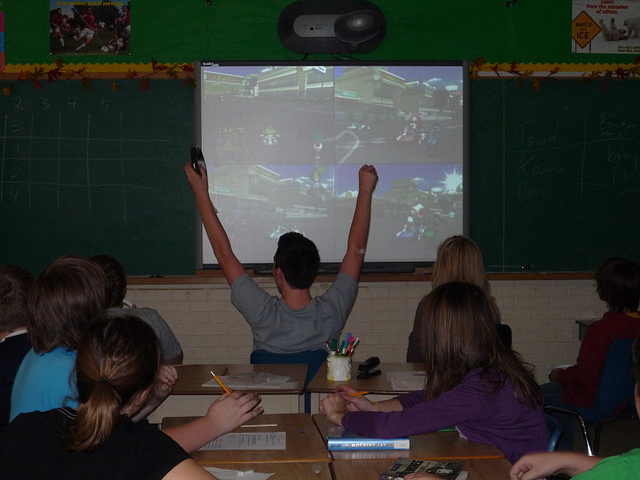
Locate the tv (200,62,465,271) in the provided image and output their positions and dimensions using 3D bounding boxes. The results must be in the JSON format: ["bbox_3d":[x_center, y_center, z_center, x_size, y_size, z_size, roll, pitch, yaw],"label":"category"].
[{"bbox_3d":[0.035,-0.578,4.206,1.769,1.160,0.060,0,5,-2],"label":"tv"}]

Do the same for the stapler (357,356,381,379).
[{"bbox_3d":[0.236,0.644,2.818,0.055,0.078,0.183,-6,-8,31],"label":"stapler"}]

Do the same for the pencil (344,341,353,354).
[{"bbox_3d":[0.148,0.533,2.798,0.016,0.018,0.079,29,50,14],"label":"pencil"}]

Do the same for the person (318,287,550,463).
[{"bbox_3d":[0.499,0.543,2.215,0.698,0.213,0.960,0,3,-2],"label":"person"}]
